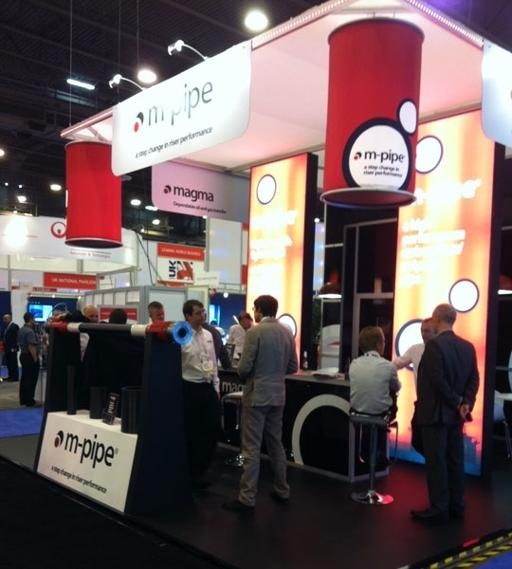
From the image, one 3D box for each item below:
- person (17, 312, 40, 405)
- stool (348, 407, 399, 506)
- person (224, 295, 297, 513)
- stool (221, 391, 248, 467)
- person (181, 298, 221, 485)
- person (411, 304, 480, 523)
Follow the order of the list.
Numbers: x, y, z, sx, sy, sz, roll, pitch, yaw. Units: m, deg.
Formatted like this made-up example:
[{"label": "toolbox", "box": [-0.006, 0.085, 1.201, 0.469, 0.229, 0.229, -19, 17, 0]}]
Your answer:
[{"label": "person", "box": [-3.267, 1.048, 7.675, 0.395, 1.334, 0.304, -3, -2, 32]}, {"label": "stool", "box": [0.763, 1.120, 3.474, 0.253, 0.566, 0.240, 0, -4, 36]}, {"label": "person", "box": [0.048, 0.727, 3.461, 0.474, 1.329, 0.330, 3, -5, -18]}, {"label": "stool", "box": [-0.274, 1.336, 4.977, 0.306, 0.618, 0.260, -15, -13, 34]}, {"label": "person", "box": [-0.391, 0.744, 3.657, 0.265, 1.291, 0.463, 2, -5, -7]}, {"label": "person", "box": [1.145, 0.759, 3.267, 0.427, 1.286, 0.297, 4, -6, -36]}]
